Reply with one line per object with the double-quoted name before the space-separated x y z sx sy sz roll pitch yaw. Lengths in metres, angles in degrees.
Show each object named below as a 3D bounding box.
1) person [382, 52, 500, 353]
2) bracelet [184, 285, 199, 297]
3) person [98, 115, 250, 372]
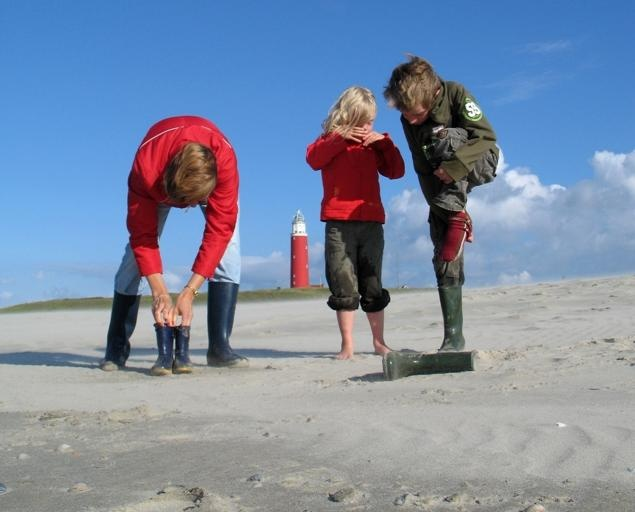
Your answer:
"person" 0.852 -0.369 3.736 0.570 1.368 0.665 -7 -4 41
"bracelet" -0.760 0.212 3.585 0.108 0.072 0.122 -6 -3 25
"person" -0.893 -0.075 3.599 0.987 1.662 1.485 -3 -3 -20
